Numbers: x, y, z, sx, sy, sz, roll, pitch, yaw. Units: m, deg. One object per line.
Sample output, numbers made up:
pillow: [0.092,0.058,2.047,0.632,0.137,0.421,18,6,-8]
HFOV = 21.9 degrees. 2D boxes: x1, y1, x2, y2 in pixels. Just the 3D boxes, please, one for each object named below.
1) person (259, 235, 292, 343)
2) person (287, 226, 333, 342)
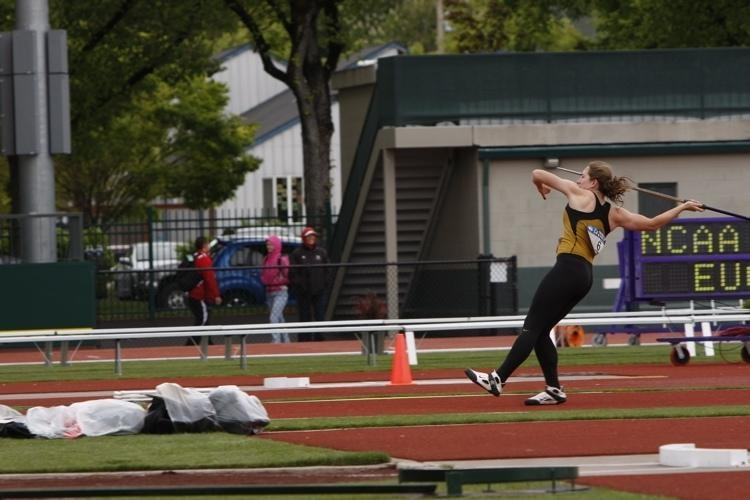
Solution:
person: [-2.391,0.916,45.787,0.934,2.284,0.772,0,-2,-12]
person: [-1.542,0.935,45.504,1.052,2.707,0.626,-2,-5,-18]
